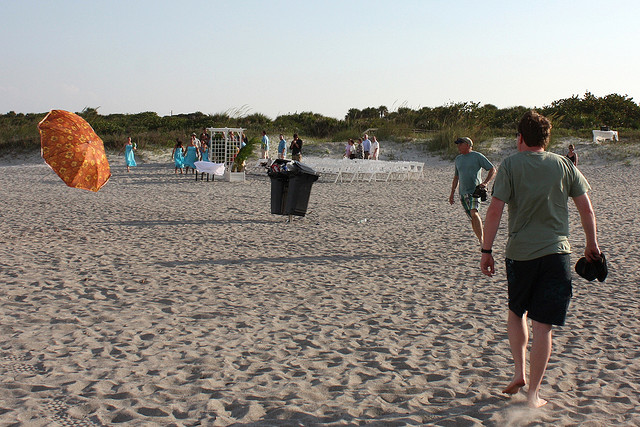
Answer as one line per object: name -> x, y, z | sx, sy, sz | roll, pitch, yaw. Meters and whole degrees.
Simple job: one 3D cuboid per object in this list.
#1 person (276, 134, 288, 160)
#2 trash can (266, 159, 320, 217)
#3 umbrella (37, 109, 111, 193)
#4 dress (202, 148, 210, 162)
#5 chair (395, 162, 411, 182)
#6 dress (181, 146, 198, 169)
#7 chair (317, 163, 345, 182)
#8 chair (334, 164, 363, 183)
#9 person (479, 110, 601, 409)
person -> -1.941, -3.425, 25.252 | 0.370, 1.249, 1.343 | -1, 12, -7
trash can -> -0.532, -0.555, 11.597 | 1.439, 1.377, 1.231 | 10, 12, 40
umbrella -> -4.474, -1.126, 9.015 | 1.084, 1.459, 0.786 | -5, 13, -27
dress -> -5.284, -2.678, 22.627 | 0.467, 0.596, 0.198 | -6, 4, -12
chair -> 3.588, -1.881, 22.056 | 0.638, 1.099, 0.911 | 5, 8, 43
dress -> -5.582, -2.484, 21.380 | 0.466, 0.863, 0.723 | -7, 14, -32
chair -> 0.481, -1.887, 21.903 | 1.074, 1.323, 0.726 | 1, 8, -10
chair -> 1.236, -1.836, 21.239 | 1.062, 0.942, 0.845 | 0, -6, 24
person -> 1.896, 0.358, 4.282 | 0.746, 2.416, 0.798 | 11, 15, 40
